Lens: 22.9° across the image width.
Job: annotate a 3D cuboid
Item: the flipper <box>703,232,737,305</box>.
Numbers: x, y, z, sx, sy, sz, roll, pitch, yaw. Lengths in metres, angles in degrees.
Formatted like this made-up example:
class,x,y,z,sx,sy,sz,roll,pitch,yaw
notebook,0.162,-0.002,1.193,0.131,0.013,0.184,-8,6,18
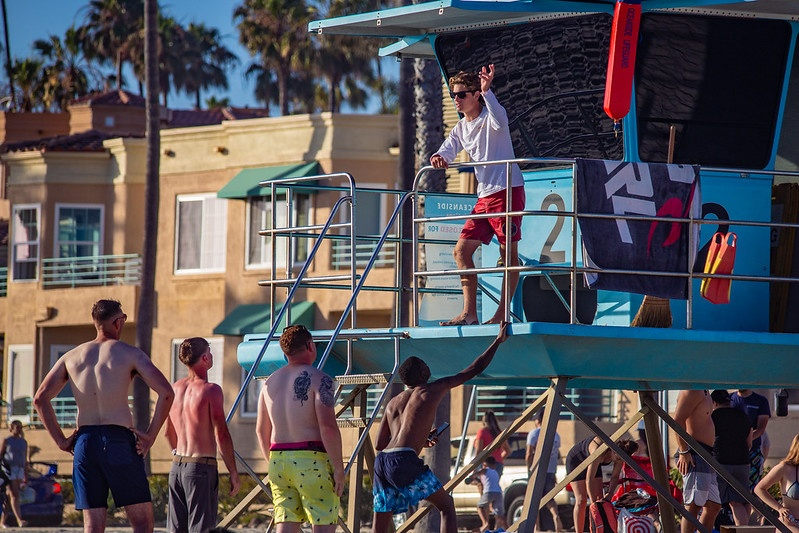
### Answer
class,x,y,z,sx,sy,sz,roll,pitch,yaw
flipper,5.523,0.019,34.107,0.651,1.210,0.921,-3,0,10

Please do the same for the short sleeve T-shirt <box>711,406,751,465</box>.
class,x,y,z,sx,sy,sz,roll,pitch,yaw
short sleeve T-shirt,6.058,3.103,36.093,0.940,1.146,0.587,1,-6,0

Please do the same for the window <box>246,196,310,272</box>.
class,x,y,z,sx,sy,sz,roll,pitch,yaw
window,-3.031,-0.811,48.726,1.994,2.333,0.124,0,1,23

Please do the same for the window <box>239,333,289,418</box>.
class,x,y,z,sx,sy,sz,roll,pitch,yaw
window,-2.500,2.018,35.971,1.183,1.442,1.310,0,-4,-8

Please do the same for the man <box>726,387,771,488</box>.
class,x,y,z,sx,sy,sz,roll,pitch,yaw
man,6.562,3.598,37.679,0.993,2.461,0.687,1,7,-1

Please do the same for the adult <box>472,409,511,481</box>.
class,x,y,z,sx,sy,sz,roll,pitch,yaw
adult,2.045,4.179,42.726,0.742,2.240,0.625,4,11,18

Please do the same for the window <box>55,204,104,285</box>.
class,x,y,z,sx,sy,sz,roll,pitch,yaw
window,-9.444,-0.685,57.960,1.493,2.928,0.158,0,35,-10

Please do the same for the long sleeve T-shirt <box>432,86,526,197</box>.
class,x,y,z,sx,sy,sz,roll,pitch,yaw
long sleeve T-shirt,1.438,-2.302,34.305,1.546,2.124,1.004,-25,-20,38

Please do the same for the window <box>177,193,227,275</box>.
class,x,y,z,sx,sy,sz,roll,pitch,yaw
window,-5.505,-0.868,55.478,2.062,2.340,0.157,-3,-6,39

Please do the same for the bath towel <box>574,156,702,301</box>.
class,x,y,z,sx,sy,sz,roll,pitch,yaw
bath towel,4.069,-0.683,33.688,2.303,2.489,0.271,1,0,-8

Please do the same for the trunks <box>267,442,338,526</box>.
class,x,y,z,sx,sy,sz,roll,pitch,yaw
trunks,-1.556,3.527,32.425,1.255,1.361,0.736,0,4,34

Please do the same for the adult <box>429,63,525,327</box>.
class,x,y,z,sx,sy,sz,roll,pitch,yaw
adult,1.429,-1.285,34.130,1.426,4.472,1.357,-3,0,9

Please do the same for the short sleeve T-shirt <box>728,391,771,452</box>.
class,x,y,z,sx,sy,sz,roll,pitch,yaw
short sleeve T-shirt,6.600,3.019,37.749,1.053,1.383,0.471,-1,-15,17

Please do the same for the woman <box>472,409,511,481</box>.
class,x,y,z,sx,sy,sz,roll,pitch,yaw
woman,2.076,4.158,42.731,0.735,2.255,0.656,5,15,22

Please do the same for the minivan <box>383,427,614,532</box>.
class,x,y,z,sx,sy,sz,roll,pitch,yaw
minivan,1.950,4.791,43.701,4.708,2.186,2.353,-2,-7,27

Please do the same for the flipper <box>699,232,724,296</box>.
class,x,y,z,sx,sy,sz,roll,pitch,yaw
flipper,5.470,0.020,34.081,0.556,1.200,0.923,-3,0,9

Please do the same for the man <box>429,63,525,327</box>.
class,x,y,z,sx,sy,sz,roll,pitch,yaw
man,1.427,-1.284,34.135,1.430,4.472,1.365,-3,0,9
